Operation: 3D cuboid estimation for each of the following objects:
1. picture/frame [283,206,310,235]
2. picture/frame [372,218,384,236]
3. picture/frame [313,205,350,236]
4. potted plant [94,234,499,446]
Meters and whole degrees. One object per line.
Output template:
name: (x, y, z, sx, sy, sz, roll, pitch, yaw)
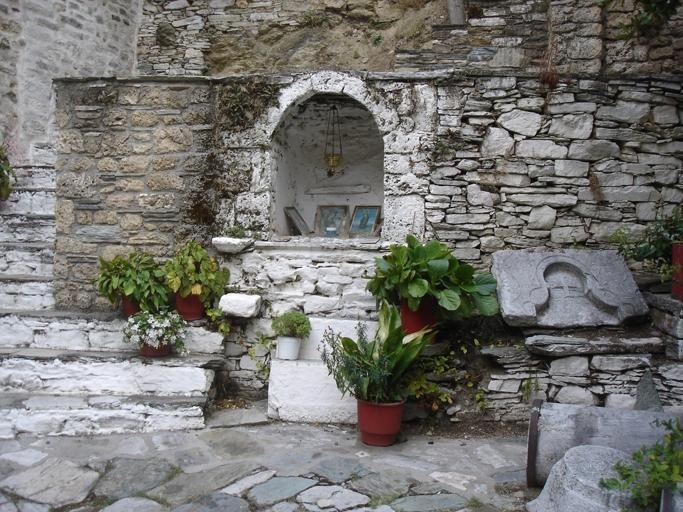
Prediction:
picture/frame: (-0.528, -0.389, 6.387, 0.048, 0.407, 0.370, -37, 2, 17)
picture/frame: (0.399, -0.302, 6.092, 0.085, 0.072, 0.259, 22, -7, 12)
picture/frame: (-0.107, -0.401, 6.630, 0.516, 0.460, 0.068, 0, -26, 7)
potted plant: (0.083, 0.684, 5.178, 2.448, 1.756, 1.012, 3, 2, 29)
